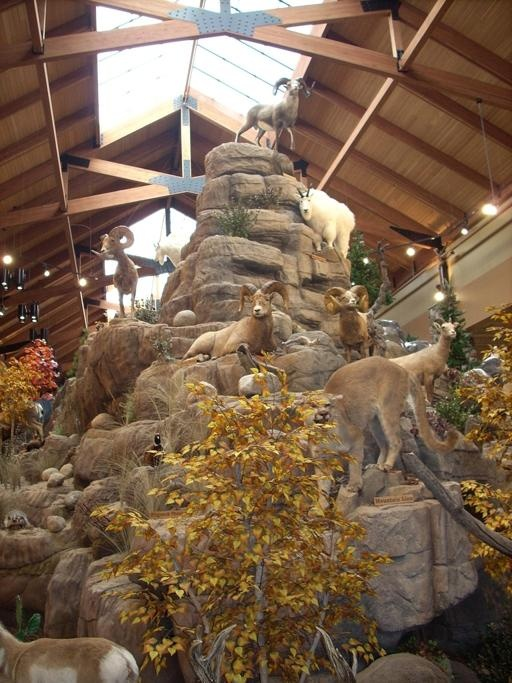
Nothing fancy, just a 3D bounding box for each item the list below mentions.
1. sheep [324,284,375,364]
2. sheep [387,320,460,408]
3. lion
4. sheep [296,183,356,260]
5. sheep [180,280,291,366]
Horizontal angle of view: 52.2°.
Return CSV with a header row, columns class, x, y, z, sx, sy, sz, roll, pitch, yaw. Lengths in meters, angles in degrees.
class,x,y,z,sx,sy,sz,roll,pitch,yaw
sheep,1.274,-0.268,7.034,0.553,1.020,1.337,-11,-19,12
sheep,2.516,0.230,7.703,0.926,1.499,0.953,-3,0,-29
lion,0.955,0.634,4.088,0.962,1.044,0.469,-9,-19,6
sheep,1.358,-2.352,10.213,1.242,1.540,0.551,11,-26,-43
sheep,-0.177,-0.275,6.691,0.808,0.789,1.428,2,-8,-34
